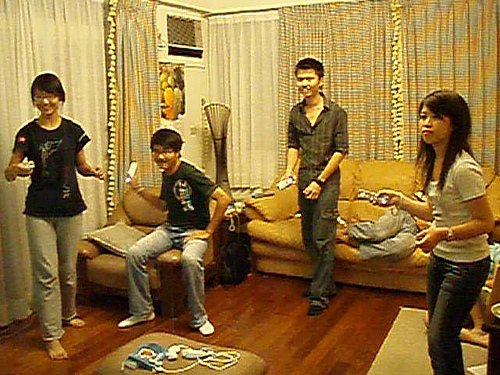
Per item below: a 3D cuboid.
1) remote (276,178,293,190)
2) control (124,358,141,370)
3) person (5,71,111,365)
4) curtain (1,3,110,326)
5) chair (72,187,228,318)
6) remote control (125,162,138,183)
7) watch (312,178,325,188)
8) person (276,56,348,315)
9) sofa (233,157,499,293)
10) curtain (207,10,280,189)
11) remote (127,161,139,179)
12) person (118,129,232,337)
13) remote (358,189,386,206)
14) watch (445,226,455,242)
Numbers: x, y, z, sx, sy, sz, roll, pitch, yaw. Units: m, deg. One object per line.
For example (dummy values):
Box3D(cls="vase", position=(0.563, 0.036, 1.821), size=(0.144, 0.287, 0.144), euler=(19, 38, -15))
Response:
Box3D(cls="remote", position=(0.298, -0.032, 3.518), size=(0.118, 0.070, 0.041), euler=(-31, -17, -7))
Box3D(cls="control", position=(-0.666, 0.988, 2.333), size=(0.046, 0.011, 0.047), euler=(14, 16, 35))
Box3D(cls="person", position=(-1.373, 0.174, 2.977), size=(0.403, 1.951, 0.548), euler=(3, 11, 25))
Box3D(cls="curtain", position=(-1.750, -0.340, 3.702), size=(0.245, 2.711, 1.374), euler=(3, 10, 23))
Box3D(cls="chair", position=(-0.972, 0.563, 3.893), size=(1.325, 0.891, 1.263), euler=(-4, 12, -21))
Box3D(cls="remote control", position=(-0.937, -0.119, 3.309), size=(0.055, 0.175, 0.046), euler=(33, 12, 33))
Box3D(cls="watch", position=(0.568, -0.042, 3.480), size=(0.116, 0.087, 0.101), euler=(3, 11, 25))
Box3D(cls="person", position=(0.511, -0.045, 3.592), size=(0.505, 2.099, 0.536), euler=(-10, 13, -43))
Box3D(cls="sofa", position=(0.704, 0.334, 4.102), size=(1.891, 1.148, 0.880), euler=(1, 10, 12))
Box3D(cls="curtain", position=(-0.081, -1.014, 4.930), size=(0.911, 2.066, 0.219), euler=(2, 10, 21))
Box3D(cls="remote", position=(-0.931, -0.140, 3.300), size=(0.068, 0.112, 0.031), euler=(32, -2, 28))
Box3D(cls="person", position=(-0.600, 0.317, 3.295), size=(0.891, 1.549, 0.478), euler=(1, 10, 11))
Box3D(cls="remote", position=(0.809, 0.059, 2.751), size=(0.163, 0.114, 0.034), euler=(0, -23, 30))
Box3D(cls="watch", position=(0.919, 0.213, 1.900), size=(0.039, 0.058, 0.061), euler=(-5, -5, 22))
